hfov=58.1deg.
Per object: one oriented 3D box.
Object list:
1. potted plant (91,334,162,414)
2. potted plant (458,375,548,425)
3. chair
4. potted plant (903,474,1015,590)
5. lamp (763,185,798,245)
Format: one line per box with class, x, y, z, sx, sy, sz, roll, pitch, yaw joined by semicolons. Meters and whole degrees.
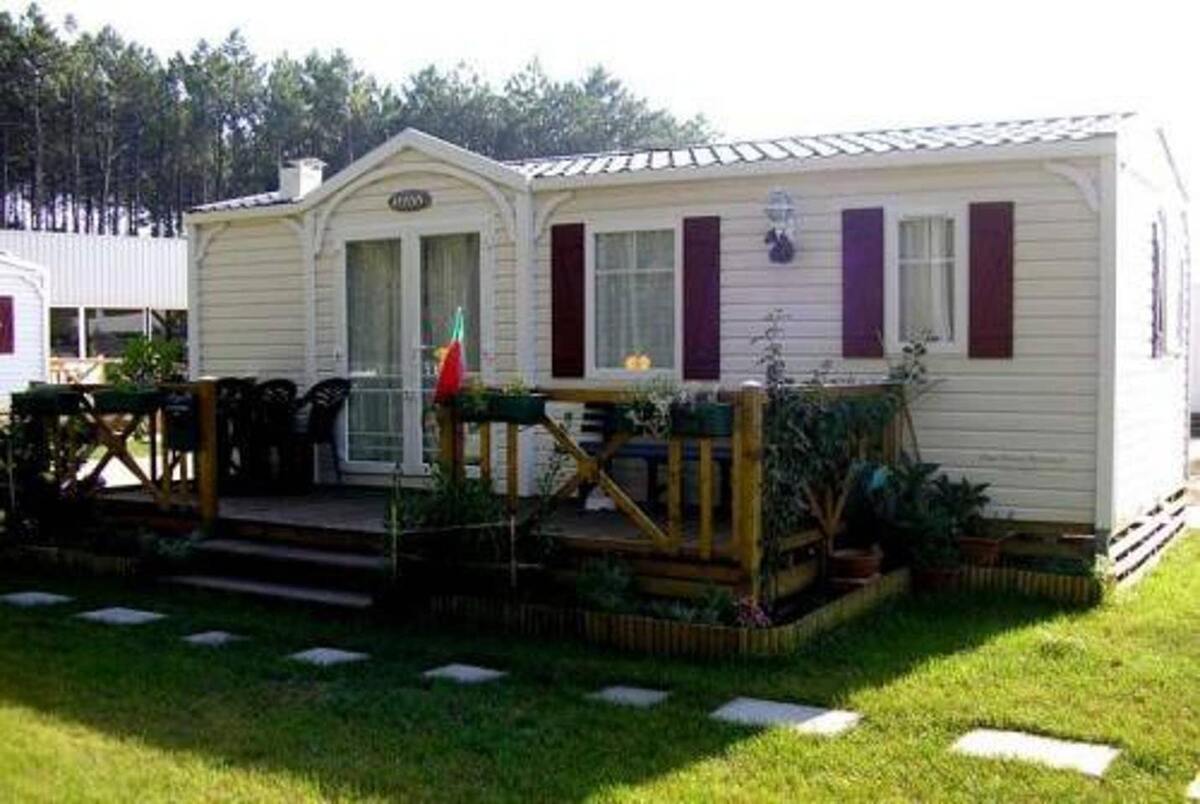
potted plant;-4.811;-0.251;11.291;0.947;0.777;0.773;-2;1;34
potted plant;-0.832;-0.010;9.384;0.627;0.314;0.381;-1;-3;24
chair;-3.590;0.360;12.188;1.380;1.297;0.776;-6;11;-27
potted plant;3.368;1.304;10.352;0.939;1.255;0.945;2;6;25
lamp;1.782;-1.900;10.840;0.278;0.514;0.320;7;12;38
